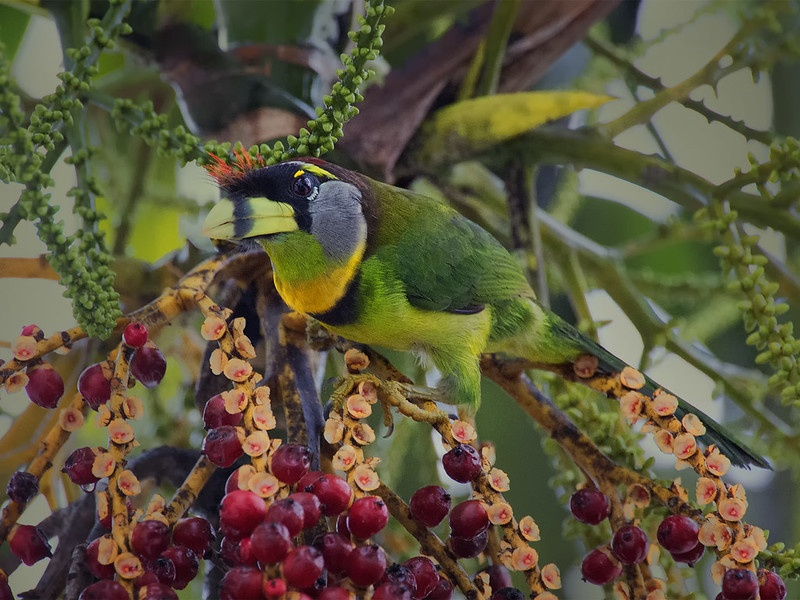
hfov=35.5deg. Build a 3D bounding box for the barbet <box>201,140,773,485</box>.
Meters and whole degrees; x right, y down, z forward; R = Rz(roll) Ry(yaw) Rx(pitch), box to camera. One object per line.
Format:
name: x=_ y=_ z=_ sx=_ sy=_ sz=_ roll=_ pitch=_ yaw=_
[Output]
barbet: x=0.114 y=0.001 z=2.002 sx=0.887 sy=0.382 sz=0.235 roll=6 pitch=-7 yaw=-26
